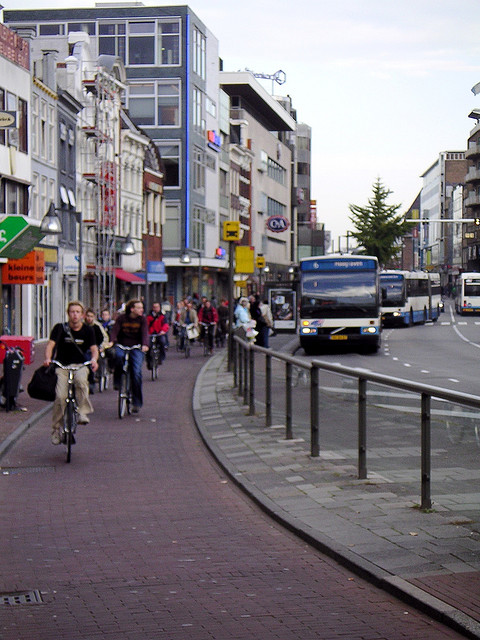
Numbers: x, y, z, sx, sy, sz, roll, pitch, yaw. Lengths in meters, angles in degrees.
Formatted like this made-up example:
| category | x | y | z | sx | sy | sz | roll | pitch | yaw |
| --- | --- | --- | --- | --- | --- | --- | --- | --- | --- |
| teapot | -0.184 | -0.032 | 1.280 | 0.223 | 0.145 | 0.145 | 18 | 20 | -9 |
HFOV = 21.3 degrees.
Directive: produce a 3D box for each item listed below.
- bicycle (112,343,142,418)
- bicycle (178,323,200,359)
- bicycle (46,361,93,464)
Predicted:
| category | x | y | z | sx | sy | sz | roll | pitch | yaw |
| --- | --- | --- | --- | --- | --- | --- | --- | --- | --- |
| bicycle | -1.475 | 0.782 | 16.642 | 0.368 | 0.957 | 0.638 | -1 | 1 | -17 |
| bicycle | -1.391 | 0.560 | 34.191 | 0.769 | 1.103 | 1.668 | -1 | -1 | -1 |
| bicycle | -1.661 | 0.882 | 12.550 | 0.482 | 0.940 | 1.000 | 0 | 1 | 14 |
